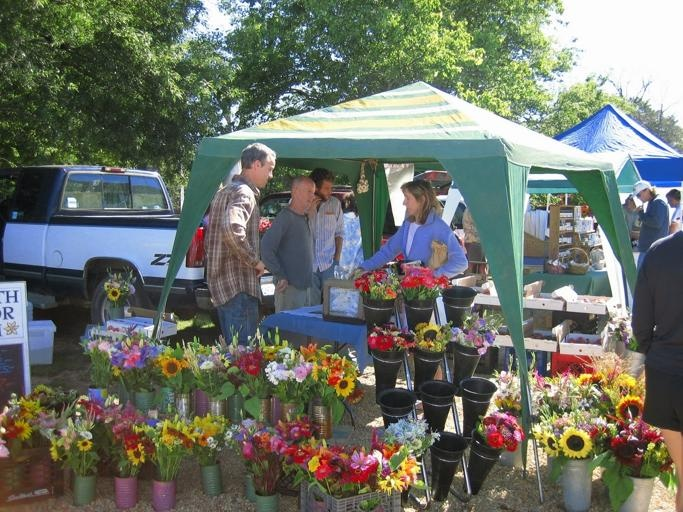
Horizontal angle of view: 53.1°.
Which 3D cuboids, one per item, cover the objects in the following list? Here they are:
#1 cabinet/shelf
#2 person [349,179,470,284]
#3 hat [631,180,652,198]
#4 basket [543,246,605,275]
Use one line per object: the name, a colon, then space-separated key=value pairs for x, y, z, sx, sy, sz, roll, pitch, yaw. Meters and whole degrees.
cabinet/shelf: x=3.288 y=-0.358 z=10.181 sx=0.805 sy=0.847 sz=0.309 roll=-9 pitch=9 yaw=-44
person: x=0.686 y=-0.192 z=7.415 sx=0.874 sy=1.682 sz=1.179 roll=1 pitch=-2 yaw=-14
hat: x=5.081 y=-1.172 z=11.502 sx=0.313 sy=0.197 sz=0.239 roll=-18 pitch=-1 yaw=-2
basket: x=3.251 y=0.079 z=9.508 sx=0.443 sy=0.272 sz=0.686 roll=3 pitch=6 yaw=35
